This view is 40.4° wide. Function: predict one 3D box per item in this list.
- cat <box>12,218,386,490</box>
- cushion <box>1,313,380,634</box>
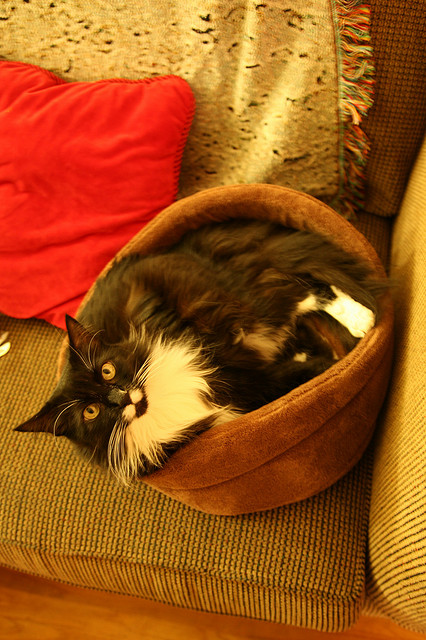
[{"bbox_3d":[-0.007,0.092,1.120,0.604,0.207,0.418,-27,66,1],"label":"cat"},{"bbox_3d":[-0.030,0.254,1.008,0.592,0.337,0.611,9,79,31],"label":"cushion"}]
